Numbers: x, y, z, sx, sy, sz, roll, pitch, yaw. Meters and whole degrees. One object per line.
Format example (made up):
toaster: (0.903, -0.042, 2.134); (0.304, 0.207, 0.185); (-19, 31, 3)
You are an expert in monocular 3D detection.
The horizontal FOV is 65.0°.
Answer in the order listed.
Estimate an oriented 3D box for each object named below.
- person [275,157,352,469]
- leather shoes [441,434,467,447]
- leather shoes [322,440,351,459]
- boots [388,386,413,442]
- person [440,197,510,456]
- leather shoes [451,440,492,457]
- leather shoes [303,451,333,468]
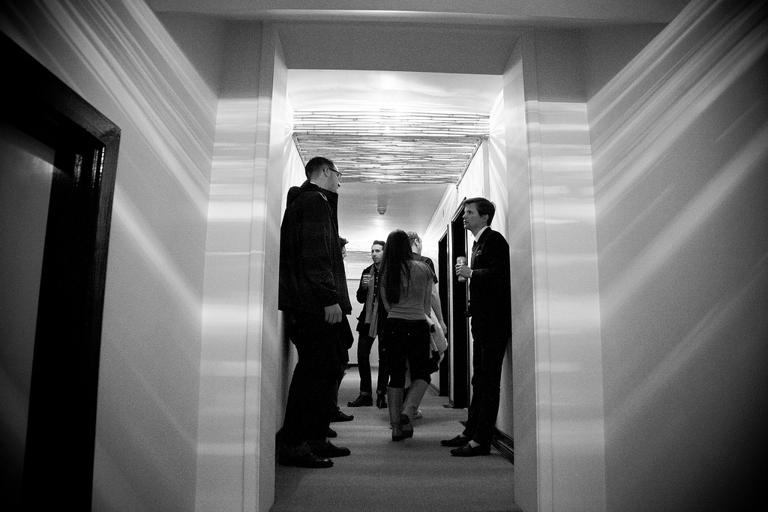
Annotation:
person: (-0.482, 0.340, 4.207); (0.496, 2.187, 0.720); (1, -14, -4)
leather shoes: (0.546, 1.441, 4.706); (0.211, 0.083, 0.077); (1, -8, 0)
leather shoes: (-0.353, 1.407, 4.397); (0.228, 0.095, 0.083); (0, -7, -4)
boots: (0.136, 1.303, 5.010); (0.171, 0.434, 0.445); (-2, -5, 16)
person: (0.713, 0.485, 4.525); (0.418, 1.959, 0.732); (2, -14, -9)
leather shoes: (0.620, 1.405, 4.432); (0.307, 0.121, 0.113); (3, -10, -1)
leather shoes: (-0.456, 1.394, 4.120); (0.196, 0.076, 0.083); (-1, -4, -2)
